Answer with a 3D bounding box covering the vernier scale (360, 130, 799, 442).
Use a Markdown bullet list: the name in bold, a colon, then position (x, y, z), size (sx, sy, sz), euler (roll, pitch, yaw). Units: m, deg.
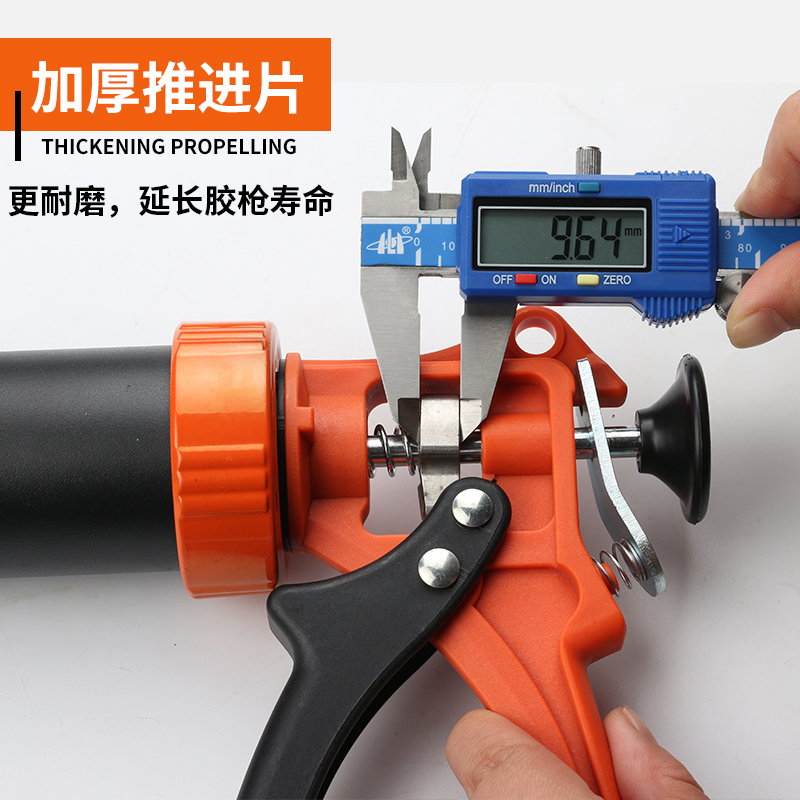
- **vernier scale**: position (0.250, -0.130, 1.155), size (0.476, 0.425, 0.070), euler (0, -2, 0)
